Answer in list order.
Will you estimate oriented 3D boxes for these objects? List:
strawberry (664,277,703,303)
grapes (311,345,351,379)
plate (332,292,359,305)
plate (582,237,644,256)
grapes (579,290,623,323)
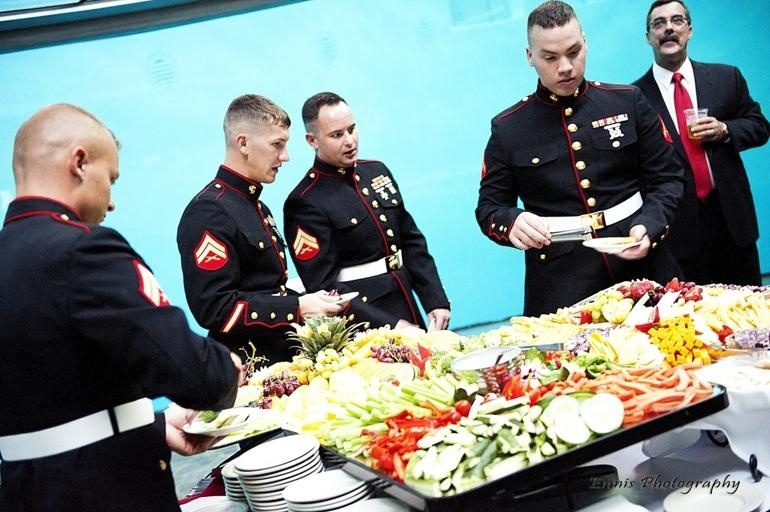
[{"bbox_3d":[1.478,0.169,2.927,0.115,0.053,0.145,-14,23,-32],"label":"strawberry"},{"bbox_3d":[-0.271,0.516,2.843,0.132,0.063,0.142,-30,16,-12],"label":"grapes"},{"bbox_3d":[-0.191,0.242,3.211,0.097,0.025,0.098,-9,12,27],"label":"plate"},{"bbox_3d":[1.246,-0.055,3.224,0.330,0.117,0.213,-15,7,-43],"label":"plate"},{"bbox_3d":[1.124,0.215,3.034,0.181,0.095,0.137,2,37,18],"label":"grapes"}]
